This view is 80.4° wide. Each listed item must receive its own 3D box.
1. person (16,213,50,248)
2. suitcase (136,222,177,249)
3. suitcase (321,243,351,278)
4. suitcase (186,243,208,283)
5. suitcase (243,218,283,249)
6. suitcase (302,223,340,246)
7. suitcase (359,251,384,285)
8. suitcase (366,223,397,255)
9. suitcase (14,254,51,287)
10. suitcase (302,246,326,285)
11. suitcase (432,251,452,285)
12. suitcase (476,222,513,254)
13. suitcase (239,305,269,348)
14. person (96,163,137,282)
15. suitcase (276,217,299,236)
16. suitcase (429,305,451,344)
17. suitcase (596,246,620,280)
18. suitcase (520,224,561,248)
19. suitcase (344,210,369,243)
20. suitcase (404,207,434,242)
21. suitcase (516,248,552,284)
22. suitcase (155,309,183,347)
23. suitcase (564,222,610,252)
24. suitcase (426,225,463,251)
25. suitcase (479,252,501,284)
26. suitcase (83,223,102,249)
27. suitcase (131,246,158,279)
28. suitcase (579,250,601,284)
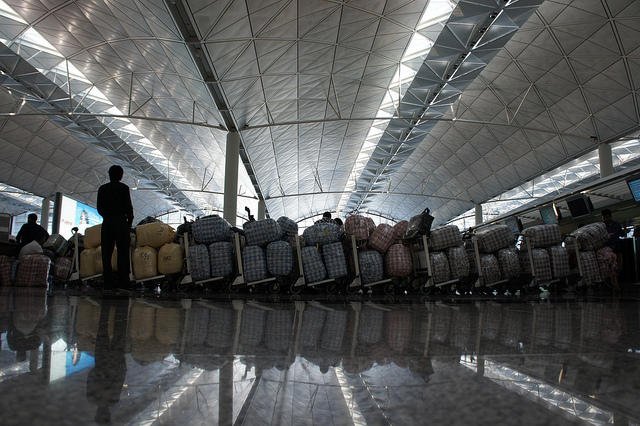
[{"bbox_3d":[-6.231,0.352,8.236,0.478,0.719,1.063,8,-9,-37],"label":"person"},{"bbox_3d":[-3.242,0.422,7.855,0.878,0.504,0.633,-9,-2,23],"label":"suitcase"},{"bbox_3d":[0.310,0.916,7.497,0.575,0.600,0.178,-10,-7,-4],"label":"suitcase"},{"bbox_3d":[-2.318,0.967,7.261,0.349,0.694,0.080,4,-8,-6],"label":"suitcase"},{"bbox_3d":[-1.103,0.381,7.527,0.593,0.459,0.724,-13,-2,5],"label":"suitcase"},{"bbox_3d":[0.003,0.462,7.854,0.898,0.397,0.719,-7,-8,18],"label":"suitcase"},{"bbox_3d":[1.005,1.108,7.621,0.757,0.588,0.382,2,-12,-31],"label":"suitcase"},{"bbox_3d":[1.395,0.455,8.129,0.499,0.700,0.554,-15,22,-29],"label":"suitcase"},{"bbox_3d":[-5.665,1.149,7.509,0.667,0.655,0.441,3,-11,-31],"label":"suitcase"},{"bbox_3d":[-0.130,0.984,7.199,0.472,0.632,0.172,-11,-6,-2],"label":"suitcase"},{"bbox_3d":[2.518,1.132,7.838,0.534,0.660,0.219,9,-10,-44],"label":"suitcase"},{"bbox_3d":[3.925,0.517,8.666,0.923,0.580,0.612,-22,-27,12],"label":"suitcase"},{"bbox_3d":[-0.462,0.810,2.646,0.265,0.298,0.101,4,-1,1],"label":"suitcase"},{"bbox_3d":[-3.493,0.170,6.478,0.604,1.997,0.570,7,-8,-25],"label":"person"},{"bbox_3d":[-0.637,0.190,8.098,0.341,0.383,0.427,14,37,20],"label":"suitcase"},{"bbox_3d":[0.997,0.888,3.122,0.157,0.049,1.996,0,-7,18],"label":"suitcase"},{"bbox_3d":[6.995,1.218,9.253,0.726,0.781,0.308,4,-10,-19],"label":"suitcase"},{"bbox_3d":[5.131,0.549,8.838,0.922,0.541,0.550,1,13,-4],"label":"suitcase"},{"bbox_3d":[0.739,0.340,7.943,0.419,0.540,0.446,-5,-14,-39],"label":"suitcase"},{"bbox_3d":[2.184,0.244,8.117,0.347,0.800,0.661,27,-28,-12],"label":"suitcase"},{"bbox_3d":[4.798,1.177,8.493,0.628,0.746,0.482,-1,-8,28],"label":"suitcase"},{"bbox_3d":[-1.055,0.779,2.644,0.184,0.046,1.478,4,-7,-20],"label":"suitcase"},{"bbox_3d":[6.690,0.500,9.631,0.980,0.405,0.834,-17,12,-14],"label":"suitcase"},{"bbox_3d":[2.614,0.519,7.992,0.852,0.492,0.515,-3,-5,5],"label":"suitcase"},{"bbox_3d":[3.716,1.209,8.386,0.664,0.652,0.286,7,-9,-32],"label":"suitcase"},{"bbox_3d":[-5.086,0.519,8.499,0.296,0.562,0.953,8,-9,-36],"label":"suitcase"},{"bbox_3d":[-3.445,0.971,7.485,0.513,0.637,0.255,5,-8,-16],"label":"suitcase"},{"bbox_3d":[6.407,1.284,9.049,0.623,0.759,0.216,7,-8,-30],"label":"suitcase"}]
